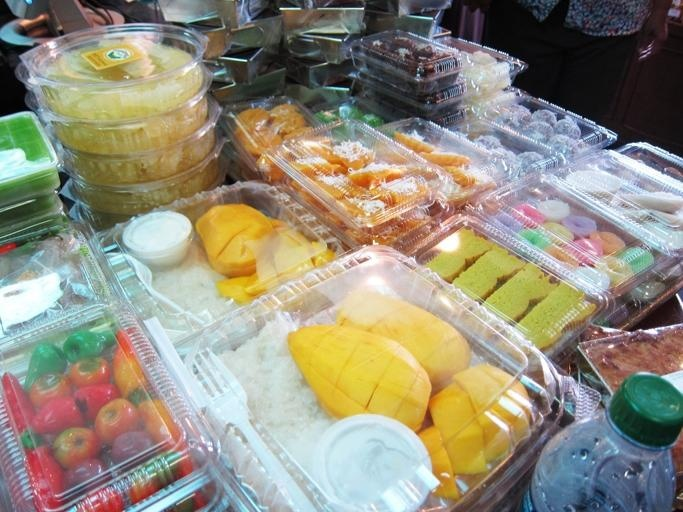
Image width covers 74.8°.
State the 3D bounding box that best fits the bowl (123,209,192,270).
[{"bbox_3d":[-0.458,-0.052,1.109,0.139,0.069,0.142,1,50,-2],"label":"bowl"}]

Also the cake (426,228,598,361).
[{"bbox_3d":[0.416,0.073,1.144,0.242,0.084,0.352,-34,61,-31],"label":"cake"}]

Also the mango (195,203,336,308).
[{"bbox_3d":[-0.207,-0.034,1.212,0.311,0.250,0.247,-24,34,-20],"label":"mango"}]
